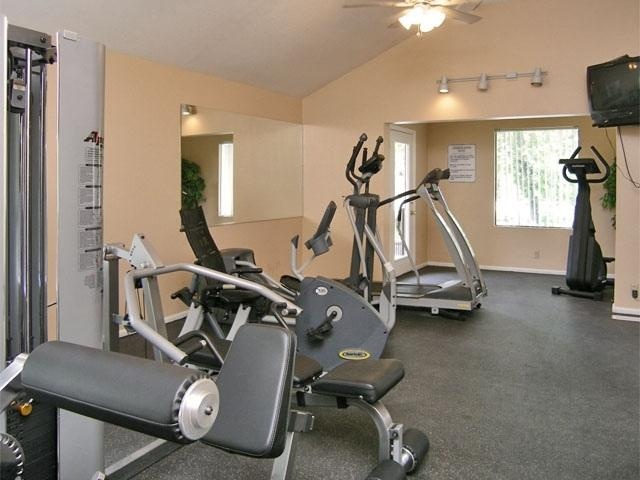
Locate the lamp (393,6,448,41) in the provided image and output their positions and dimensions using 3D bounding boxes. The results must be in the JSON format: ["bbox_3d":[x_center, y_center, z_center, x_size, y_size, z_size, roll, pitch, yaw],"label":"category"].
[{"bbox_3d":[0.894,-1.927,4.162,0.401,0.303,0.278,0,7,9],"label":"lamp"}]

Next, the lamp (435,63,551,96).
[{"bbox_3d":[2.010,-1.865,5.593,1.221,0.220,0.145,3,8,27],"label":"lamp"}]

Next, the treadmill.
[{"bbox_3d":[1.152,0.028,5.454,1.399,1.544,0.860,-1,3,37],"label":"treadmill"}]
